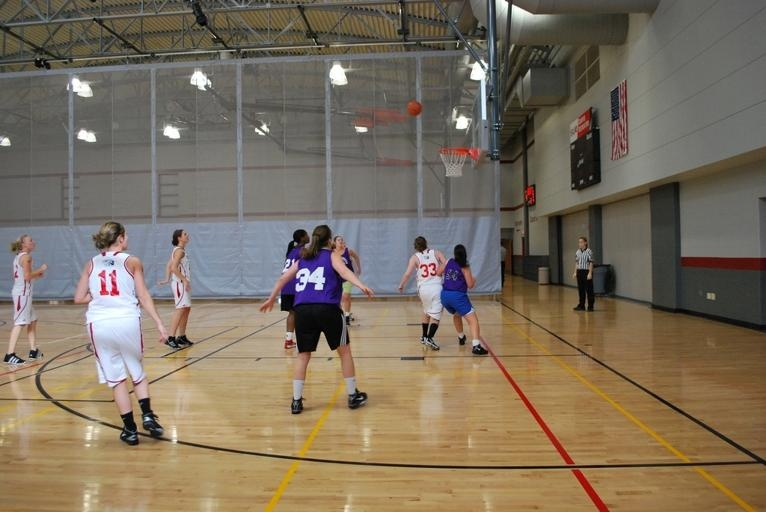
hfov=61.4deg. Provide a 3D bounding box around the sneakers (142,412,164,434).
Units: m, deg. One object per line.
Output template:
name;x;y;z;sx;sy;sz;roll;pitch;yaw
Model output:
sneakers;-3.104;2.260;8.724;0.105;0.280;0.192;-21;44;0

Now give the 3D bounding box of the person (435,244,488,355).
person;1.434;0.741;11.367;0.752;1.867;1.378;0;0;9

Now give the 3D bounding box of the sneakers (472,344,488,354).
sneakers;1.671;1.578;11.011;0.254;0.128;0.141;0;0;-22

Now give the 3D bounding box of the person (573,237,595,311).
person;4.758;0.405;15.224;0.417;1.674;1.372;0;0;17

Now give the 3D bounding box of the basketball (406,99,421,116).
basketball;0.748;-3.503;15.253;0.386;0.293;0.493;1;15;6

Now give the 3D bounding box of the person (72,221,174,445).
person;-3.506;1.018;8.662;1.088;2.966;0.431;0;0;-20

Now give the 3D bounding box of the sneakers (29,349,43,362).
sneakers;-5.967;1.700;11.184;0.130;0.149;0.321;3;1;-4

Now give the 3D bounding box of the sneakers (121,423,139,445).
sneakers;-3.373;2.398;8.644;0.133;0.159;0.363;3;-2;-28

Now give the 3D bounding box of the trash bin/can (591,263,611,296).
trash bin/can;5.954;0.654;17.630;0.750;1.067;0.680;-1;-2;18

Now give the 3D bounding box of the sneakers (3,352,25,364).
sneakers;-6.088;1.720;10.807;0.381;0.184;0.143;1;-3;-7

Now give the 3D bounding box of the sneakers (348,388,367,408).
sneakers;-0.348;2.045;9.300;0.141;0.176;0.371;0;5;15

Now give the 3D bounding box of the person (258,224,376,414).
person;-0.870;0.891;9.206;1.279;2.658;0.480;0;0;-2

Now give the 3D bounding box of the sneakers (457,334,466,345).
sneakers;1.421;1.502;11.626;0.113;0.137;0.319;-2;-15;10

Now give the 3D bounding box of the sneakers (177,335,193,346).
sneakers;-3.591;1.545;11.887;0.315;0.192;0.116;-1;2;-28

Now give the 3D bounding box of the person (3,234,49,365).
person;-6.216;0.716;11.250;0.590;2.192;1.561;0;0;-30
